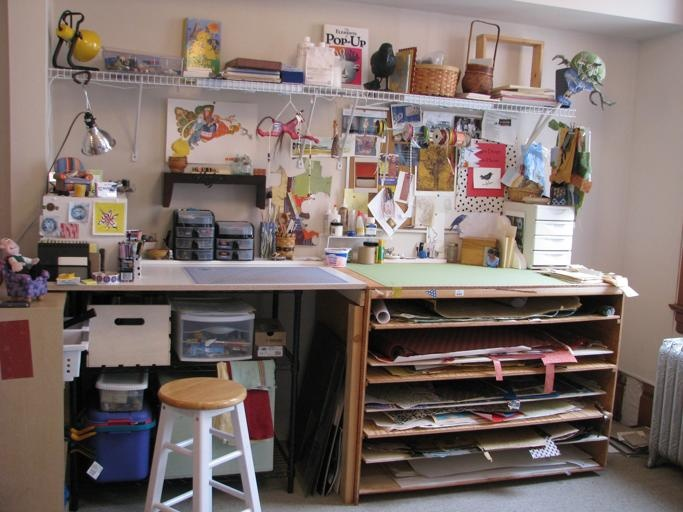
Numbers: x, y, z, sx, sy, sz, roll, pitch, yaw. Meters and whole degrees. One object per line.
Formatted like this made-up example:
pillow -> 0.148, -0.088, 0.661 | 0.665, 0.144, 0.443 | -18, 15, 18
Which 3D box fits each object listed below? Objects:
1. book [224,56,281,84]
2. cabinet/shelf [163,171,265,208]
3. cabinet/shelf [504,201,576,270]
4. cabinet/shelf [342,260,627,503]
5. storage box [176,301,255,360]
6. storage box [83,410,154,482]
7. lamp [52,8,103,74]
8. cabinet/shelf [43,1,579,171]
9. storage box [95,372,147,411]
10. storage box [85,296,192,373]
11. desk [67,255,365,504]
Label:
book -> -0.483, -1.001, 3.128 | 0.312, 0.117, 0.078 | -1, 9, -11
cabinet/shelf -> -0.724, -0.380, 3.303 | 0.559, 0.189, 0.170 | 0, 7, -12
cabinet/shelf -> 1.273, -0.141, 3.839 | 0.316, 0.386, 0.387 | 0, 9, -19
cabinet/shelf -> 0.692, 0.654, 3.747 | 2.096, 1.427, 1.209 | -1, 8, -11
storage box -> -0.717, 0.422, 3.182 | 0.467, 0.231, 0.451 | 2, 1, -37
storage box -> -1.100, 0.988, 3.046 | 0.387, 0.333, 0.307 | -5, -14, 1
lamp -> -1.395, -1.135, 3.027 | 0.244, 0.347, 0.328 | -3, 10, -22
cabinet/shelf -> -0.276, -1.006, 3.382 | 4.217, 0.565, 0.167 | 0, 8, -18
storage box -> -1.153, 0.701, 3.031 | 0.260, 0.147, 0.309 | 4, 3, -18
storage box -> -1.110, 0.380, 3.029 | 0.442, 0.246, 0.408 | 1, 7, -15
desk -> -0.539, 0.597, 3.091 | 1.142, 0.864, 0.889 | 5, -13, -15
